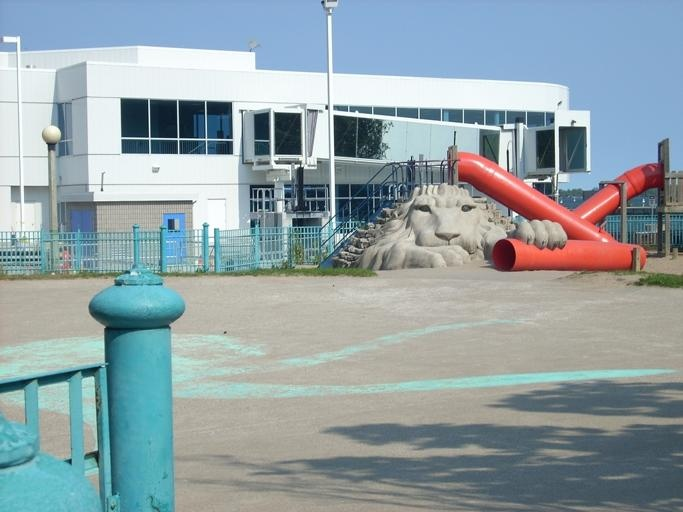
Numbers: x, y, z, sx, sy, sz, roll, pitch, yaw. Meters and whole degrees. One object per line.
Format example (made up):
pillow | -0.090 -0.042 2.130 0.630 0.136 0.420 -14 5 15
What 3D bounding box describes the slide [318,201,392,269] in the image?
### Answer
slide | 0.436 -0.598 43.644 2.190 2.023 6.067 1 9 -1
